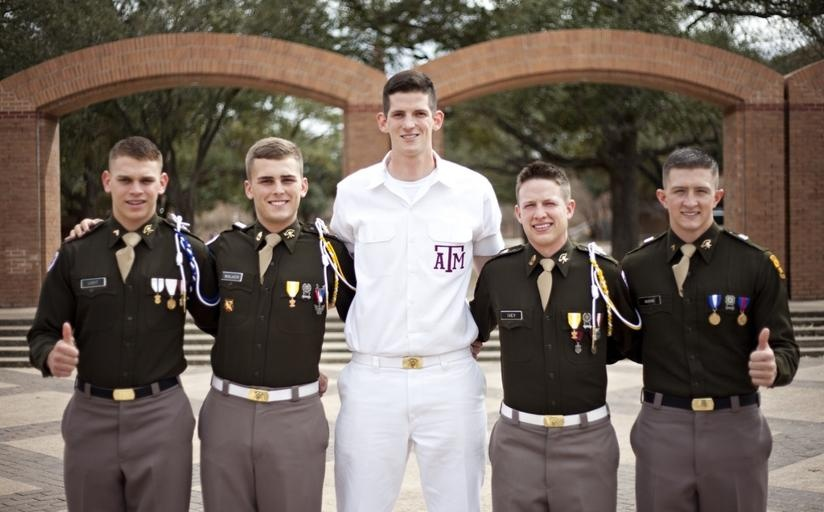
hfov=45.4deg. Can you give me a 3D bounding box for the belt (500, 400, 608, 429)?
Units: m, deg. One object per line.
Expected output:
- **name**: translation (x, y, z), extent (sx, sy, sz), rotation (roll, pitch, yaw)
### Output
- **belt**: translation (1.815, 2.024, 12.479), extent (1.362, 0.285, 0.208), rotation (0, -2, 4)

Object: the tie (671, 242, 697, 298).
- **tie**: translation (3.532, 0.183, 12.718), extent (0.287, 0.676, 0.167), rotation (11, -8, 19)

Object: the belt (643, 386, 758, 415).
- **belt**: translation (3.678, 1.841, 12.507), extent (1.438, 0.258, 0.188), rotation (0, -2, 5)
